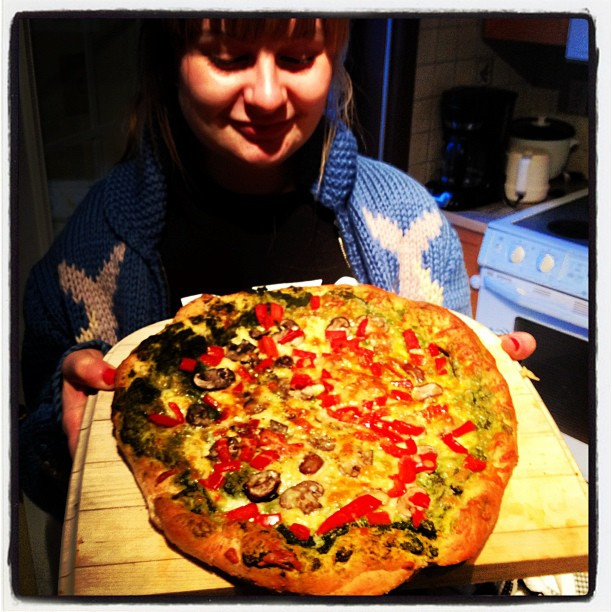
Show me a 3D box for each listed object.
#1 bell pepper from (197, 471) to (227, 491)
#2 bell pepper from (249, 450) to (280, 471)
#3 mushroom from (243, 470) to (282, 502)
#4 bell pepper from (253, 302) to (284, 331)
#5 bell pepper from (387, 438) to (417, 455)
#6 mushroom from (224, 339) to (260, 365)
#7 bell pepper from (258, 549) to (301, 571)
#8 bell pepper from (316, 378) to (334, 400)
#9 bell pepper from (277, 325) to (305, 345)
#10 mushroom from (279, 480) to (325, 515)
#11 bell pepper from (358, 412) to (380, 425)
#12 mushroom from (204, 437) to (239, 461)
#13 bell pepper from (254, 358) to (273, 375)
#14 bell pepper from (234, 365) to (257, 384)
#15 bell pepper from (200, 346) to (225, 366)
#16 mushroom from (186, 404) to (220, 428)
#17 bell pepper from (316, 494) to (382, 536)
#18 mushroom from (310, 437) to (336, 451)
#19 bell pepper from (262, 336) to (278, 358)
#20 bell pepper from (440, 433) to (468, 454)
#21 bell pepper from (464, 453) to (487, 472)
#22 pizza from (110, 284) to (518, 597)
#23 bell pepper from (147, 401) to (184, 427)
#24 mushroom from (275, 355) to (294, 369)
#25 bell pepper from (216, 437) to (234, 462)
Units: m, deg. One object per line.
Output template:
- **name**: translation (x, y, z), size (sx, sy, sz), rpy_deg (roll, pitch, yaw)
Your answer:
- **bell pepper**: translation (-0.229, 0.429, 1.406), size (0.062, 0.024, 0.046), rpy_deg (20, 29, 30)
- **bell pepper**: translation (-0.111, 0.382, 1.450), size (0.038, 0.014, 0.063), rpy_deg (16, 29, 22)
- **mushroom**: translation (-0.109, 0.435, 1.390), size (0.087, 0.041, 0.069), rpy_deg (4, 25, 0)
- **bell pepper**: translation (-0.122, 0.025, 1.865), size (0.089, 0.025, 0.084), rpy_deg (-5, 60, -15)
- **bell pepper**: translation (0.251, 0.364, 1.483), size (0.077, 0.017, 0.046), rpy_deg (0, 25, -10)
- **mushroom**: translation (-0.192, 0.137, 1.766), size (0.075, 0.020, 0.074), rpy_deg (-28, 63, -32)
- **bell pepper**: translation (-0.056, 0.544, 1.229), size (0.090, 0.013, 0.042), rpy_deg (3, 25, -3)
- **bell pepper**: translation (0.054, 0.240, 1.647), size (0.047, 0.013, 0.043), rpy_deg (-5, 51, -7)
- **bell pepper**: translation (-0.047, 0.087, 1.812), size (0.074, 0.027, 0.048), rpy_deg (-33, 80, -23)
- **mushroom**: translation (-0.005, 0.457, 1.360), size (0.107, 0.029, 0.079), rpy_deg (-8, 28, -26)
- **bell pepper**: translation (0.172, 0.304, 1.556), size (0.051, 0.026, 0.013), rpy_deg (-9, 74, -12)
- **mushroom**: translation (-0.213, 0.367, 1.473), size (0.045, 0.016, 0.070), rpy_deg (3, 34, 3)
- **bell pepper**: translation (-0.127, 0.179, 1.729), size (0.031, 0.019, 0.055), rpy_deg (32, 55, 19)
- **bell pepper**: translation (-0.179, 0.204, 1.707), size (0.034, 0.017, 0.066), rpy_deg (-22, 49, -26)
- **bell pepper**: translation (-0.278, 0.149, 1.743), size (0.057, 0.022, 0.056), rpy_deg (34, 51, 19)
- **mushroom**: translation (-0.283, 0.298, 1.570), size (0.057, 0.017, 0.066), rpy_deg (-8, 33, -28)
- **bell pepper**: translation (0.100, 0.485, 1.331), size (0.172, 0.044, 0.042), rpy_deg (-12, 30, -32)
- **mushroom**: translation (0.045, 0.359, 1.492), size (0.066, 0.013, 0.038), rpy_deg (4, 25, -1)
- **bell pepper**: translation (-0.110, 0.125, 1.772), size (0.037, 0.017, 0.063), rpy_deg (-7, 63, -18)
- **bell pepper**: translation (0.391, 0.362, 1.500), size (0.036, 0.017, 0.078), rpy_deg (-15, 31, -36)
- **bell pepper**: translation (0.425, 0.398, 1.446), size (0.048, 0.013, 0.058), rpy_deg (-19, 34, -41)
- **pizza**: translation (0.073, 0.299, 1.616), size (1.111, 0.123, 1.096), rpy_deg (-9, 41, -16)
- **bell pepper**: translation (-0.371, 0.282, 1.543), size (0.063, 0.016, 0.058), rpy_deg (5, 32, -19)
- **mushroom**: translation (-0.066, 0.170, 1.731), size (0.043, 0.010, 0.036), rpy_deg (1, 44, -1)
- **bell pepper**: translation (-0.208, 0.368, 1.466), size (0.036, 0.026, 0.070), rpy_deg (-2, 26, -13)
